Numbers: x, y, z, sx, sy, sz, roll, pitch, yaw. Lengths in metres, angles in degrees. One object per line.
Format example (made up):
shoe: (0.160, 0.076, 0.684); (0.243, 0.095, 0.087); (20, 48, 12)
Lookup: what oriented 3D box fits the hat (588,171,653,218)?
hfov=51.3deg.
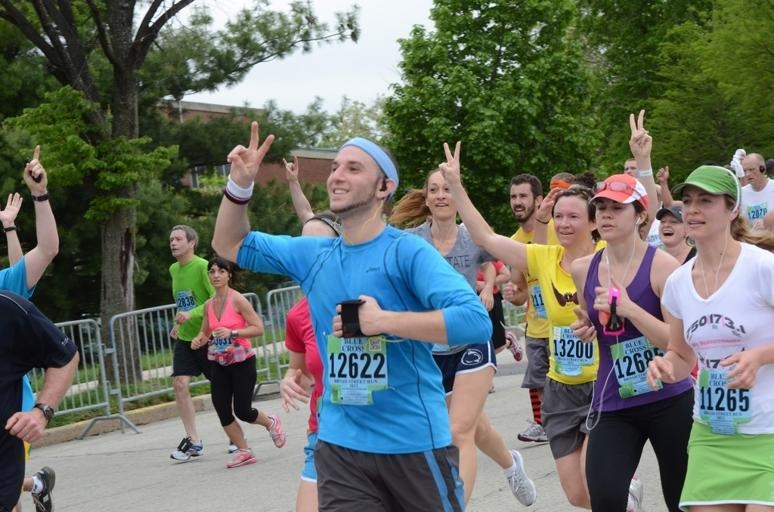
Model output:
hat: (1.781, -0.460, 6.060); (0.347, 0.171, 0.240); (20, -18, -40)

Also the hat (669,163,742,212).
hat: (2.135, -0.495, 5.427); (0.366, 0.179, 0.267); (24, -10, -16)

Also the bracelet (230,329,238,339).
bracelet: (-1.769, 0.905, 9.362); (0.070, 0.101, 0.097); (-1, 6, -17)

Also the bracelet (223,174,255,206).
bracelet: (-0.953, -0.419, 5.288); (0.187, 0.178, 0.145); (-22, -11, -17)

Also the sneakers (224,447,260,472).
sneakers: (-1.683, 2.348, 9.399); (0.433, 0.244, 0.147); (-2, -8, -4)

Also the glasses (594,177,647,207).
glasses: (1.757, -0.501, 6.032); (0.313, 0.155, 0.216); (21, -18, -39)
